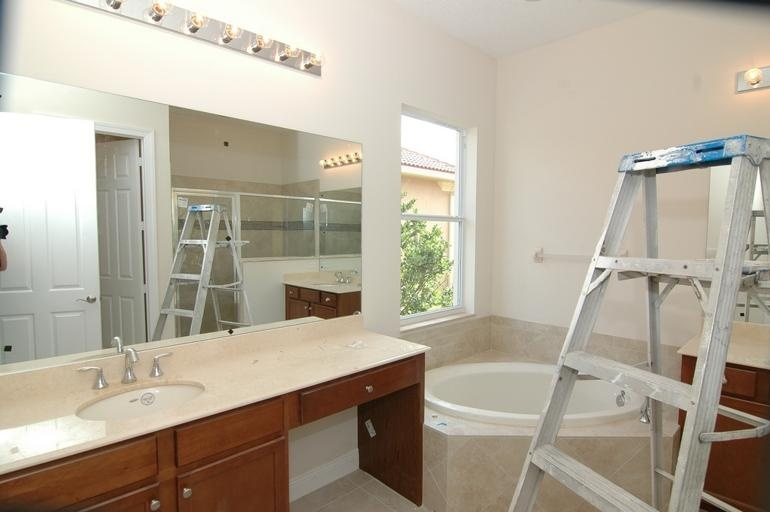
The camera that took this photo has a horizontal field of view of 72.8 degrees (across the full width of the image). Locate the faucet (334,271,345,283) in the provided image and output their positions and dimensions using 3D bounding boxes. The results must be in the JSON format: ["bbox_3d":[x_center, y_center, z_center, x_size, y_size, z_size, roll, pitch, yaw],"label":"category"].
[{"bbox_3d":[-0.310,0.156,3.544,0.058,0.087,0.070,2,3,30],"label":"faucet"}]
